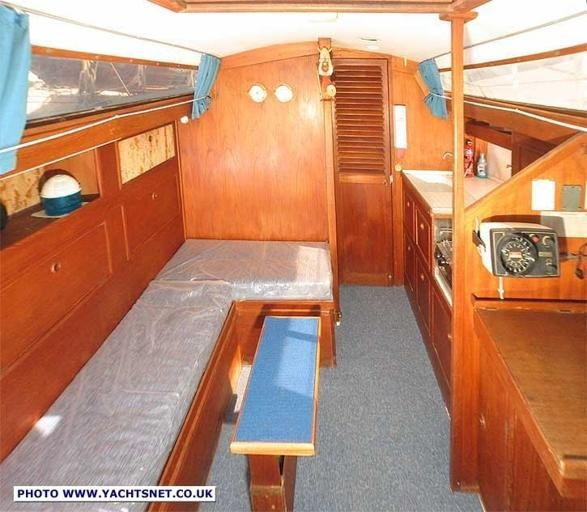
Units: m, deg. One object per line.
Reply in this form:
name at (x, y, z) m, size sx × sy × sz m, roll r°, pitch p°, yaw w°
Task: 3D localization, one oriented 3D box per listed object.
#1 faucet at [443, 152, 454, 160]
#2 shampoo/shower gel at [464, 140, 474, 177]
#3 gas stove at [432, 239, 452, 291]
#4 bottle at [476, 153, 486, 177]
faucet at (1.633, -1.060, 4.699) m, size 0.077 × 0.092 × 0.087 m, roll 13°, pitch 15°, yaw 35°
shampoo/shower gel at (1.793, -0.992, 4.494) m, size 0.129 × 0.369 × 0.134 m, roll 8°, pitch 13°, yaw 19°
gas stove at (1.072, 0.043, 3.156) m, size 0.105 × 0.257 × 0.432 m, roll 6°, pitch 13°, yaw 11°
bottle at (1.903, -0.907, 4.453) m, size 0.097 × 0.243 × 0.138 m, roll 6°, pitch 13°, yaw 14°
